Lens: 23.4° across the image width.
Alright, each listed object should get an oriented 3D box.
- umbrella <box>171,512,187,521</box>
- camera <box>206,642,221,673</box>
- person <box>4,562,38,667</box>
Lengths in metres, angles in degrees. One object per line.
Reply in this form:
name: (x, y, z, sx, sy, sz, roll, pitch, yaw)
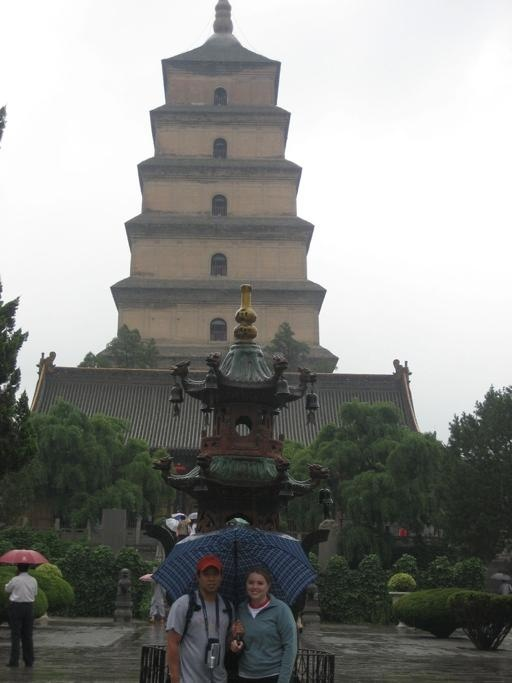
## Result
umbrella: (-1.370, 3.189, 22.364, 0.236, 0.095, 0.328, 1, -8, 0)
camera: (-0.294, 2.259, 8.862, 0.105, 0.212, 0.070, 3, -16, -6)
person: (-2.552, 2.982, 13.385, 0.349, 1.130, 1.047, 4, -16, -10)
